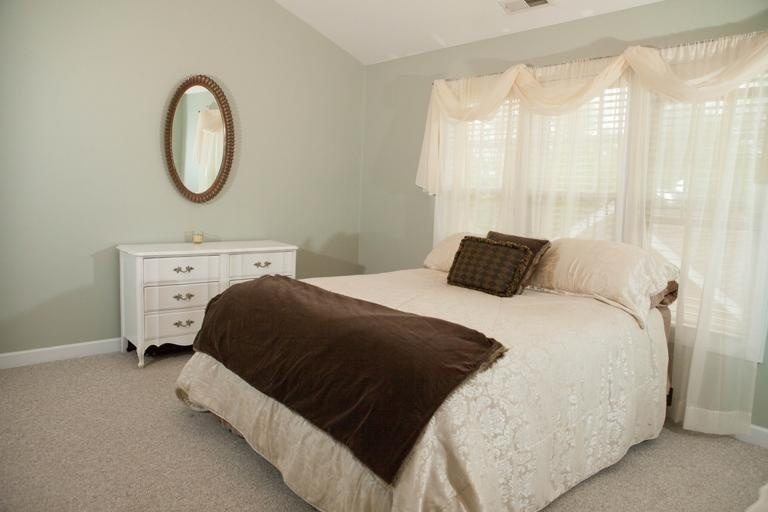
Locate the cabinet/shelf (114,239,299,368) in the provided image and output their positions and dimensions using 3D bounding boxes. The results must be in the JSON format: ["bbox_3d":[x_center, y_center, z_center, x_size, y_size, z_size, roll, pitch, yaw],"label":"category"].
[{"bbox_3d":[-1.561,0.379,4.731,1.377,1.065,0.534,-4,21,-36],"label":"cabinet/shelf"}]

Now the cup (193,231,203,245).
[{"bbox_3d":[-1.661,-0.163,4.644,0.089,0.105,0.096,0,-3,0],"label":"cup"}]
